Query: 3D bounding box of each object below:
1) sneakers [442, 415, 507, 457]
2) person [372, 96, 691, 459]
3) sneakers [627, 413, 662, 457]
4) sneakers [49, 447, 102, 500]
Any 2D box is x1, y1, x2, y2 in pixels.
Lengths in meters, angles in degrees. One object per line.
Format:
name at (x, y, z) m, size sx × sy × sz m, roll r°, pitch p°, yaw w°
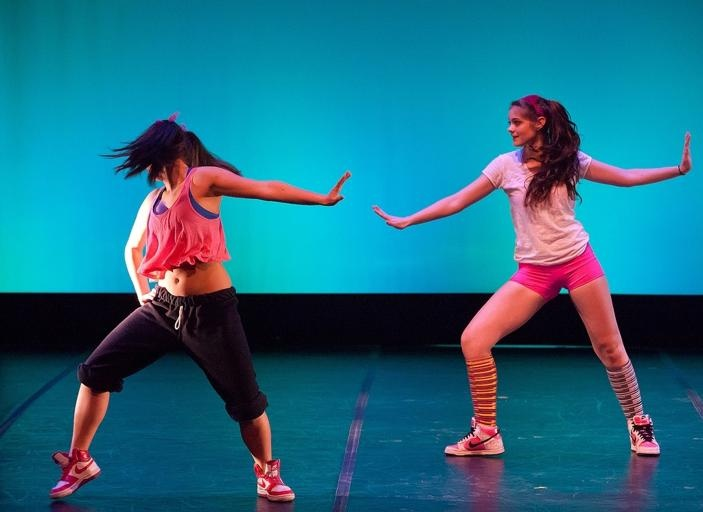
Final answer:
sneakers at (0.604, 0.952, 3.017) m, size 0.359 × 0.182 × 0.113 m, roll 6°, pitch -19°, yaw -22°
person at (0.976, 0.106, 2.972) m, size 1.231 × 1.837 × 0.310 m, roll 0°, pitch -1°, yaw -9°
sneakers at (1.536, 0.934, 3.056) m, size 0.117 × 0.158 × 0.359 m, roll -7°, pitch -2°, yaw 20°
sneakers at (-1.213, 0.917, 2.473) m, size 0.093 × 0.169 × 0.263 m, roll -16°, pitch 3°, yaw 21°
